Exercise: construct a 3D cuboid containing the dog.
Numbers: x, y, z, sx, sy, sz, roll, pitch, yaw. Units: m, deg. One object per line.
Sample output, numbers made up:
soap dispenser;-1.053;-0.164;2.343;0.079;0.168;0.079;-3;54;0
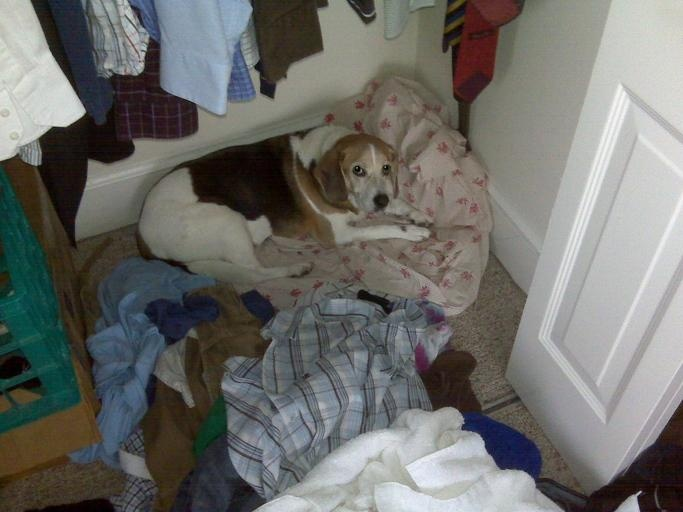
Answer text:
dog;-0.329;-0.282;2.777;1.129;0.481;0.849;-9;45;-14
